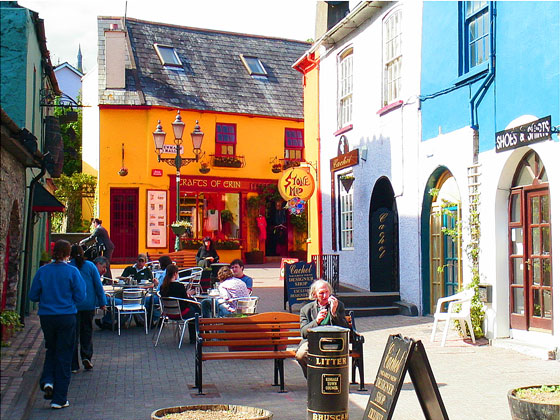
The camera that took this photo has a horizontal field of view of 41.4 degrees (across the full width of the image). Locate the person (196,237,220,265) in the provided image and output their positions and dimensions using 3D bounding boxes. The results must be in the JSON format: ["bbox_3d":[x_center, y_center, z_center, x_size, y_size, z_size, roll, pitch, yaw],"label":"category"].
[{"bbox_3d":[-2.184,1.296,22.336,0.723,1.320,0.667,0,-2,-12],"label":"person"}]

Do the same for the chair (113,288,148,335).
[{"bbox_3d":[-3.284,2.172,16.277,0.796,1.345,0.844,0,0,-18],"label":"chair"}]

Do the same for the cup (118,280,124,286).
[{"bbox_3d":[-3.756,1.717,17.470,0.118,0.111,0.129,1,-3,0],"label":"cup"}]

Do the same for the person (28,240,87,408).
[{"bbox_3d":[-3.164,1.595,10.474,0.741,2.339,0.504,1,-5,-13],"label":"person"}]

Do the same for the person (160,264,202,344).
[{"bbox_3d":[-1.989,1.859,14.720,0.808,1.530,1.005,1,-5,-7],"label":"person"}]

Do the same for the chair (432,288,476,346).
[{"bbox_3d":[3.422,2.151,14.913,0.780,1.334,0.919,3,-4,-14],"label":"chair"}]

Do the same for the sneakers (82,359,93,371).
[{"bbox_3d":[-3.209,2.581,12.332,0.090,0.267,0.104,-1,26,0],"label":"sneakers"}]

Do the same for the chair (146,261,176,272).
[{"bbox_3d":[-2.929,1.409,18.137,0.539,0.245,0.397,-15,-13,40],"label":"chair"}]

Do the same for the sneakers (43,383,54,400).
[{"bbox_3d":[-3.246,2.552,10.378,0.087,0.341,0.134,1,27,-8],"label":"sneakers"}]

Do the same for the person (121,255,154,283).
[{"bbox_3d":[-3.459,1.529,18.150,0.720,0.820,0.359,8,-3,-6],"label":"person"}]

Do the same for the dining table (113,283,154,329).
[{"bbox_3d":[-3.235,2.051,16.361,0.850,1.390,0.879,-1,4,-16],"label":"dining table"}]

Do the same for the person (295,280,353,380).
[{"bbox_3d":[0.581,1.855,10.739,0.616,1.661,0.870,-1,-11,15],"label":"person"}]

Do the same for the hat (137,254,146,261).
[{"bbox_3d":[-3.467,1.186,18.561,0.161,0.111,0.266,1,-13,1],"label":"hat"}]

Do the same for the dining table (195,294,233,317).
[{"bbox_3d":[-1.263,1.960,14.770,0.463,0.616,0.490,3,-5,-26],"label":"dining table"}]

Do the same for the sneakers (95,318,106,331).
[{"bbox_3d":[-3.981,2.531,16.433,0.148,0.396,0.131,-26,-19,13],"label":"sneakers"}]
